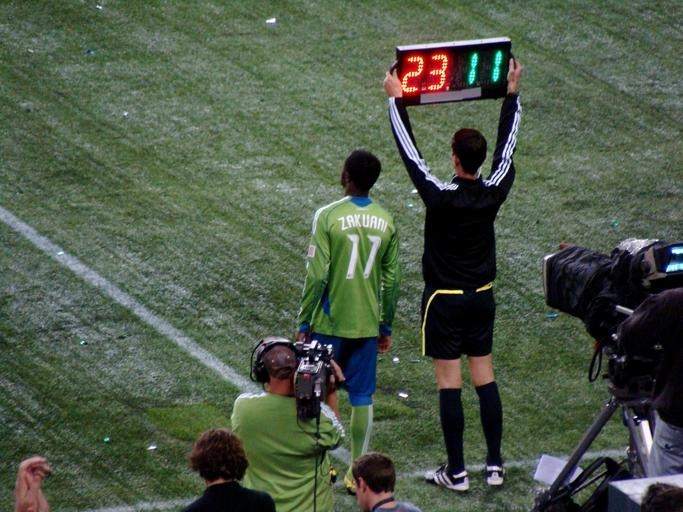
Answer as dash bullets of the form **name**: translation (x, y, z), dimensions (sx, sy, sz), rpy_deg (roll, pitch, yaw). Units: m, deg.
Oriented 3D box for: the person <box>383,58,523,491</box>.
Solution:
- **person**: translation (1.052, 0.238, 15.580), dimensions (1.448, 3.689, 0.761), rpy_deg (-5, 17, -19)
